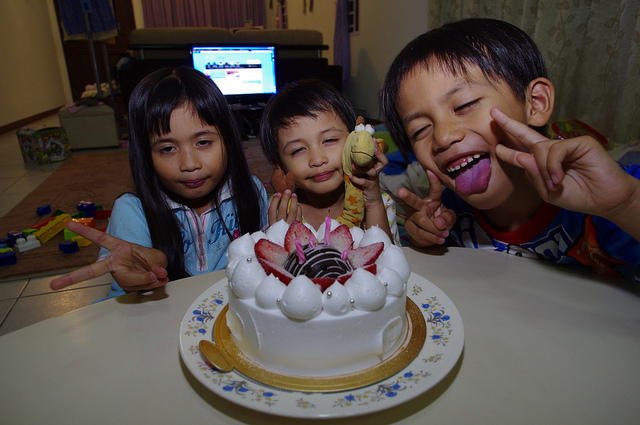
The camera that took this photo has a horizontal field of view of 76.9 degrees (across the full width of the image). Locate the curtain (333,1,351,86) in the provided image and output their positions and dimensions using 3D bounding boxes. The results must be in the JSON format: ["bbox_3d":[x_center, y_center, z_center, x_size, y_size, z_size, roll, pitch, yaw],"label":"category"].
[{"bbox_3d":[0.393,-2.831,6.828,0.260,1.340,0.632,-4,26,-3],"label":"curtain"}]

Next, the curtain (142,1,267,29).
[{"bbox_3d":[-3.134,-5.520,11.175,3.274,0.750,0.572,-13,28,-19],"label":"curtain"}]

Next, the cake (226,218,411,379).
[{"bbox_3d":[-0.010,0.193,1.206,0.498,0.341,0.519,-1,16,-9],"label":"cake"}]

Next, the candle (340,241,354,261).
[{"bbox_3d":[0.078,0.113,1.150,0.010,0.012,0.043,19,51,17],"label":"candle"}]

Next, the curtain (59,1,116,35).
[{"bbox_3d":[-3.419,-2.886,5.951,0.487,0.557,0.040,-13,21,-26],"label":"curtain"}]
